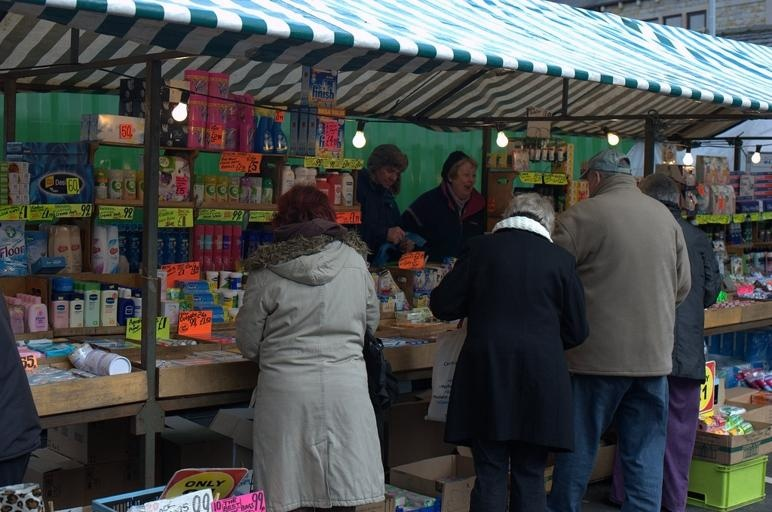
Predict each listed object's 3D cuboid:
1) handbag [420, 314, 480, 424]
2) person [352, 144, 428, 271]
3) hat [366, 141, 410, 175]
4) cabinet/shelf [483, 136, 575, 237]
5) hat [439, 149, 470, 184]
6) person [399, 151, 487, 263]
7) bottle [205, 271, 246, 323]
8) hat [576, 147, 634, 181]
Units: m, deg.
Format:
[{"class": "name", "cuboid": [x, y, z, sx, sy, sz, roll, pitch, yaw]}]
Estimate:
[{"class": "handbag", "cuboid": [0.463, 0.806, 5.577, 0.357, 0.683, 0.371, 4, 15, 13]}, {"class": "person", "cuboid": [-0.058, -0.506, 8.045, 0.744, 1.270, 0.664, -1, 15, -20]}, {"class": "hat", "cuboid": [0.011, -0.996, 7.995, 0.304, 0.258, 0.314, 3, 14, -26]}, {"class": "cabinet/shelf", "cuboid": [1.613, -0.817, 8.918, 0.873, 1.179, 0.878, -5, 16, -40]}, {"class": "hat", "cuboid": [0.767, -0.984, 8.589, 0.245, 0.341, 0.484, -2, 3, -13]}, {"class": "person", "cuboid": [0.676, -0.574, 8.882, 0.854, 1.252, 0.806, -3, 15, -27]}, {"class": "bottle", "cuboid": [-1.331, 0.327, 6.735, 0.432, 0.480, 0.419, -1, 10, -7]}, {"class": "hat", "cuboid": [1.564, -0.664, 5.702, 0.330, 0.234, 0.413, -5, 11, -40]}]
